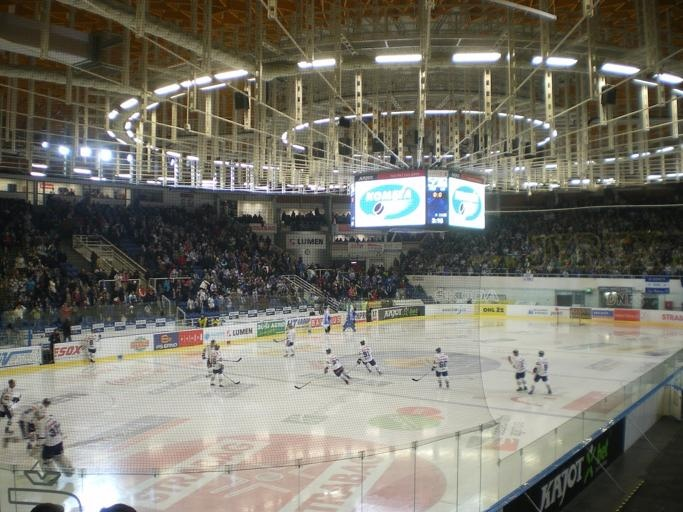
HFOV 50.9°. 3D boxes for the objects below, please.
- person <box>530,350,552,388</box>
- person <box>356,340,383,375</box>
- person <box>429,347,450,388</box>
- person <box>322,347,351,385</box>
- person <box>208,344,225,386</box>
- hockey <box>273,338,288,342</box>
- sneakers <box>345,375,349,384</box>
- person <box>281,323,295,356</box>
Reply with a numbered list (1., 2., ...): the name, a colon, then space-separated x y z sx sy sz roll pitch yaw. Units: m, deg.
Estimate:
1. person: 7.141 3.984 25.840 0.674 1.552 2.917 -3 1 15
2. person: 0.961 3.743 26.589 0.558 1.447 0.467 -16 16 3
3. person: 3.511 3.929 25.450 0.537 1.021 1.384 -3 1 8
4. person: -0.144 3.938 25.795 0.664 1.036 0.886 -2 2 44
5. person: -4.428 3.860 25.496 0.533 1.301 1.085 -4 1 -11
6. hockey: -2.854 3.939 33.518 0.502 0.142 1.402 2 -6 -27
7. sneakers: 0.195 4.432 25.827 0.215 0.300 0.692 1 -9 5
8. person: -2.240 3.526 30.445 0.465 1.180 1.204 -4 1 -6
